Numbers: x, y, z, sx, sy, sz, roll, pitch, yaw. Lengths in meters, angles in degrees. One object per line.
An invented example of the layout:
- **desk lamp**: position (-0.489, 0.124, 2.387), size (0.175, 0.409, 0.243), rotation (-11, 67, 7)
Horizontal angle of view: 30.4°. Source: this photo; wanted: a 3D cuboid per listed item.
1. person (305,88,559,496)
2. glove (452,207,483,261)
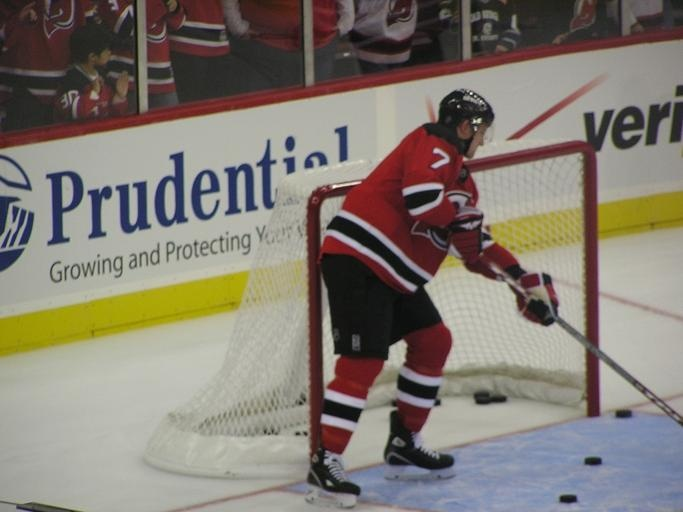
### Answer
- **person**: position (0.214, 0.148, 5.196), size (0.897, 1.635, 0.404), rotation (-9, 12, -39)
- **glove**: position (0.513, -0.096, 5.205), size (0.121, 0.202, 0.146), rotation (-8, 21, -10)
